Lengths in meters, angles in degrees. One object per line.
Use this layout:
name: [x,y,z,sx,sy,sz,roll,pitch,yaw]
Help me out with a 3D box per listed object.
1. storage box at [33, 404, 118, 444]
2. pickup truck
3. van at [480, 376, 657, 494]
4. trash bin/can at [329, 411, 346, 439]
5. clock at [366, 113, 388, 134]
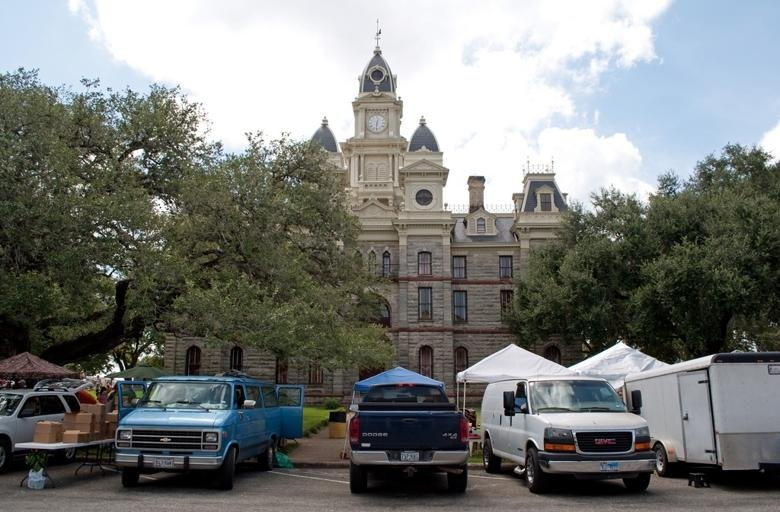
storage box: [-10.722,5.916,28.232,0.909,1.320,2.951,3,6,27]
pickup truck: [0.549,6.151,27.334,3.756,3.349,3.429,0,5,-3]
van: [5.715,6.142,27.648,3.035,3.952,5.802,-5,7,-40]
trash bin/can: [-2.361,7.787,37.749,0.804,1.281,0.701,0,6,0]
clock: [-1.134,-11.535,72.626,1.753,1.762,1.766,3,-10,-13]
